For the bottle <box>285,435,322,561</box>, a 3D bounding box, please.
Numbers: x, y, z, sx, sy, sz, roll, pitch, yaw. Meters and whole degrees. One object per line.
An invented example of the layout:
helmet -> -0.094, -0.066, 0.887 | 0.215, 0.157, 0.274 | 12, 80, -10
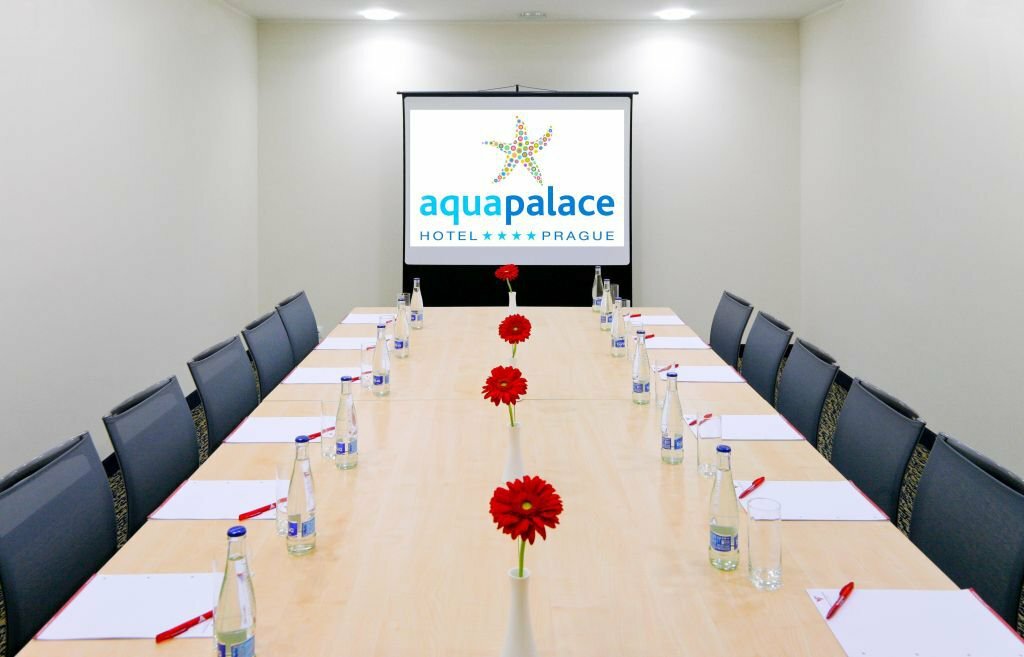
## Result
bottle -> -0.763, 0.571, 2.393 | 0.112, 0.417, 0.184 | -4, 18, -18
